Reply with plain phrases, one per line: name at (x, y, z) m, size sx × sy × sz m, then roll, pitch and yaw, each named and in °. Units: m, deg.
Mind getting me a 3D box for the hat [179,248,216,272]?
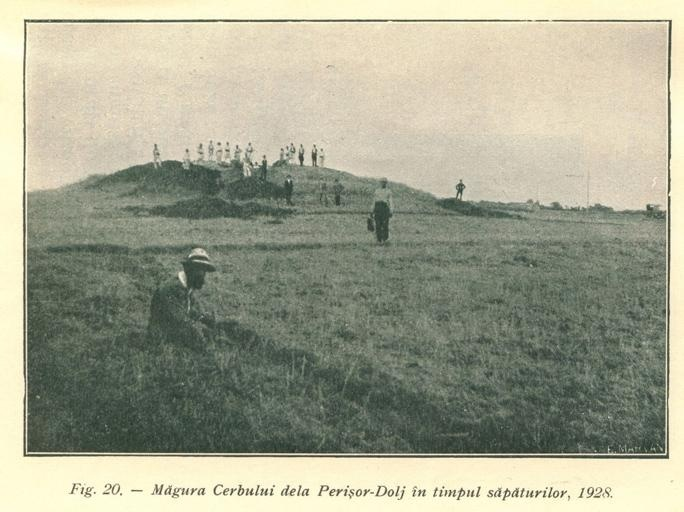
hat at (-2.723, 0.082, 18.106) m, size 0.426 × 0.225 × 0.522 m, roll 14°, pitch -21°, yaw 15°
